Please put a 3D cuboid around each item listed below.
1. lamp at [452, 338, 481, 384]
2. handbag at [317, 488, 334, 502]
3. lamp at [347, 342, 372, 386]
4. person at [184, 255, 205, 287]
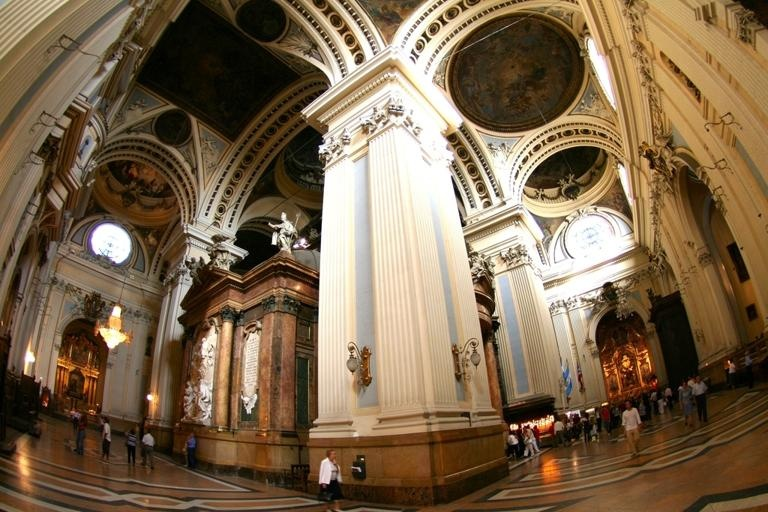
[{"bbox_3d":[1.978,2.402,11.469,0.616,0.924,0.406,-9,-11,8],"label":"lamp"},{"bbox_3d":[-1.100,4.532,9.371,0.273,0.266,0.164,-5,-35,2],"label":"handbag"},{"bbox_3d":[-0.547,2.432,11.192,0.565,1.022,0.430,-2,-35,-2],"label":"lamp"},{"bbox_3d":[-6.972,0.549,17.892,0.432,1.148,0.883,-13,-20,35],"label":"person"}]
